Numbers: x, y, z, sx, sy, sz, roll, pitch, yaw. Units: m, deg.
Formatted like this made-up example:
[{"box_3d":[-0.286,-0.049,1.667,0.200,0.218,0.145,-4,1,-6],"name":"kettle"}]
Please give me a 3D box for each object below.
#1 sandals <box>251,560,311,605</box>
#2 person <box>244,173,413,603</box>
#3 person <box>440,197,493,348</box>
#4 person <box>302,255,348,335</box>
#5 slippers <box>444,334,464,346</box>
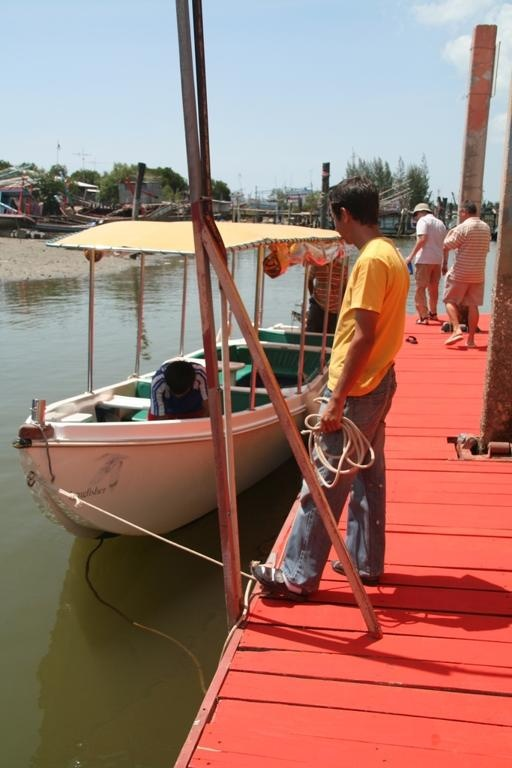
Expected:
[{"box_3d":[0.081,0.830,2.624,0.290,0.109,0.104,31,19,-2],"name":"sandals"},{"box_3d":[0.283,0.081,2.387,0.563,1.666,0.443,-6,15,-15],"name":"person"},{"box_3d":[2.374,-1.199,7.120,0.442,1.669,0.618,-1,14,3],"name":"person"},{"box_3d":[0.867,-1.015,7.822,0.530,1.153,0.264,5,37,3],"name":"person"},{"box_3d":[2.296,-0.529,7.432,0.112,0.110,0.293,1,-13,-24],"name":"slippers"}]
